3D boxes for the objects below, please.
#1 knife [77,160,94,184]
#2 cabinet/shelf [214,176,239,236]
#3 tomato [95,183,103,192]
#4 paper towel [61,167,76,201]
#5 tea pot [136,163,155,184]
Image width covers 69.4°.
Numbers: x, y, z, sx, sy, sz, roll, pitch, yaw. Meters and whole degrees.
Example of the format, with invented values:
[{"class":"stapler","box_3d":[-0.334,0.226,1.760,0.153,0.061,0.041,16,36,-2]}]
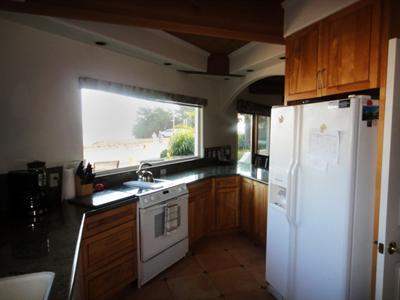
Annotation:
[{"class":"knife","box_3d":[-1.210,0.236,3.087,0.159,0.249,0.073,34,-3,-25]},{"class":"cabinet/shelf","box_3d":[0.410,0.767,4.253,0.405,0.740,0.144,-2,14,-16]},{"class":"tomato","box_3d":[-1.145,0.419,3.254,0.083,0.069,0.085,7,15,15]},{"class":"paper towel","box_3d":[-1.371,0.359,3.017,0.134,0.311,0.141,-4,15,-24]},{"class":"tea pot","box_3d":[-0.718,0.281,3.710,0.281,0.294,0.176,-3,8,-39]}]
